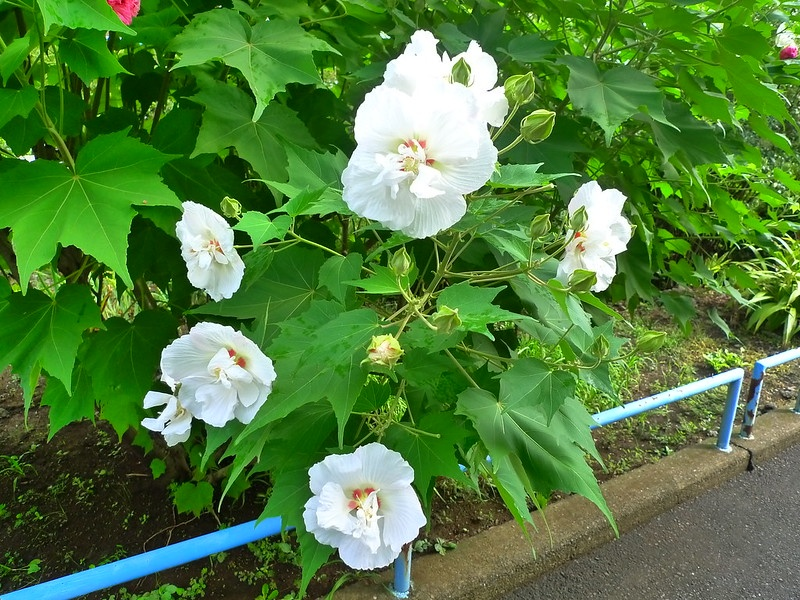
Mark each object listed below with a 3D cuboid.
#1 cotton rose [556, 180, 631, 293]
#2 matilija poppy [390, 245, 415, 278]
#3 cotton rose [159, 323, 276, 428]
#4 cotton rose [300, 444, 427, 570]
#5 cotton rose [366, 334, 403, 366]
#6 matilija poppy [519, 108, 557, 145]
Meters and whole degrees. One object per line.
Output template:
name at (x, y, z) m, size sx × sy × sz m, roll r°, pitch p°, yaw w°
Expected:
cotton rose at (0.512, -0.191, 1.588) m, size 0.294 × 0.295 × 0.144 m, roll -21°, pitch 32°, yaw -36°
matilija poppy at (0.006, -0.091, 1.328) m, size 0.064 × 0.118 × 0.064 m, roll -10°, pitch 58°, yaw -8°
cotton rose at (-0.496, 0.207, 1.420) m, size 0.345 × 0.287 × 0.113 m, roll -11°, pitch 22°, yaw 17°
cotton rose at (-0.091, 0.528, 1.376) m, size 0.262 × 0.292 × 0.115 m, roll -11°, pitch 13°, yaw 4°
cotton rose at (-0.042, 0.127, 1.293) m, size 0.080 × 0.077 × 0.064 m, roll -23°, pitch 22°, yaw -13°
matilija poppy at (0.368, -0.465, 1.394) m, size 0.080 × 0.067 × 0.155 m, roll 7°, pitch 7°, yaw 2°
